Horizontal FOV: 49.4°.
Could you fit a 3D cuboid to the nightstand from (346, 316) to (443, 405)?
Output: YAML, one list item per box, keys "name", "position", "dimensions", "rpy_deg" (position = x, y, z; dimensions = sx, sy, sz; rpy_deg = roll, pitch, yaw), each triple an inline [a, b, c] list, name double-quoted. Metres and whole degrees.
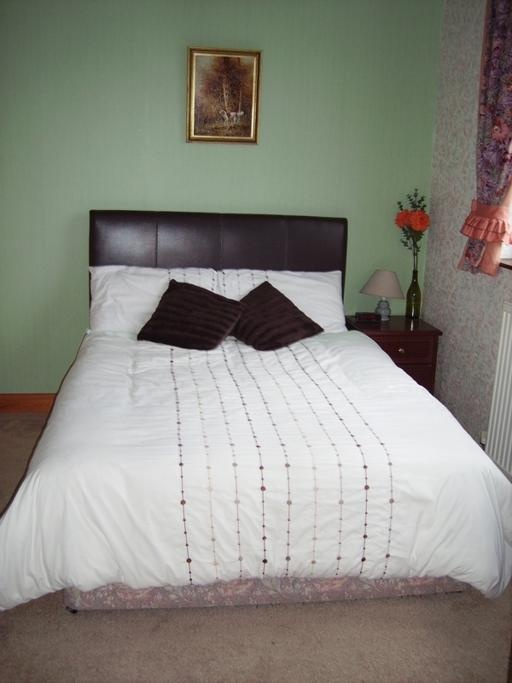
- name: "nightstand"
  position: [0.881, 0.070, 3.658]
  dimensions: [0.563, 0.730, 0.501]
  rpy_deg: [-2, 19, -3]

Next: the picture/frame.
- name: "picture/frame"
  position: [-0.211, -1.501, 3.347]
  dimensions: [0.573, 0.642, 0.044]
  rpy_deg: [0, 13, -12]
